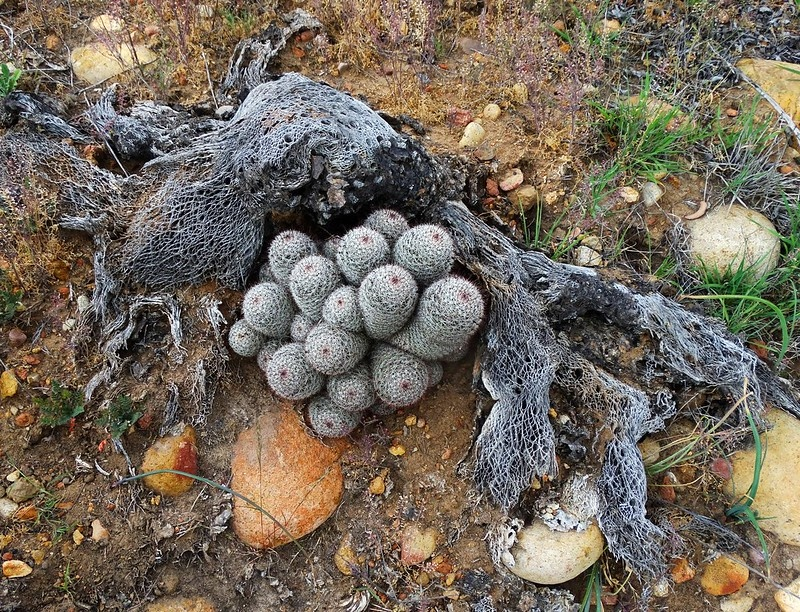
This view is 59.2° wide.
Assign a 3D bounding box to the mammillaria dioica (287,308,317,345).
[{"bbox_3d":[-0.512,0.107,3.764,0.123,0.113,0.155,12,95,8],"label":"mammillaria dioica"}]

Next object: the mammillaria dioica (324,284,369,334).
[{"bbox_3d":[-0.272,0.018,3.502,0.180,0.176,0.217,-4,85,1],"label":"mammillaria dioica"}]

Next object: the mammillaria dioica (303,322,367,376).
[{"bbox_3d":[-0.321,0.222,3.583,0.228,0.298,0.287,-2,86,14],"label":"mammillaria dioica"}]

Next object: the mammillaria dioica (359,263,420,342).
[{"bbox_3d":[-0.081,-0.006,3.557,0.251,0.424,0.261,6,31,-10],"label":"mammillaria dioica"}]

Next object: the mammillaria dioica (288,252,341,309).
[{"bbox_3d":[-0.408,-0.122,3.598,0.225,0.280,0.259,9,47,0],"label":"mammillaria dioica"}]

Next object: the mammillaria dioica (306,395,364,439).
[{"bbox_3d":[-0.381,0.551,3.742,0.321,0.306,0.188,1,45,-11],"label":"mammillaria dioica"}]

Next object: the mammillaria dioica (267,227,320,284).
[{"bbox_3d":[-0.537,-0.272,3.654,0.248,0.283,0.261,1,47,-8],"label":"mammillaria dioica"}]

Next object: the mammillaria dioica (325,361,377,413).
[{"bbox_3d":[-0.241,0.410,3.577,0.193,0.233,0.241,0,87,1],"label":"mammillaria dioica"}]

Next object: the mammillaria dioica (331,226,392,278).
[{"bbox_3d":[-0.204,-0.256,3.539,0.241,0.275,0.245,7,66,-3],"label":"mammillaria dioica"}]

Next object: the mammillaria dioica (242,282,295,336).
[{"bbox_3d":[-0.676,0.019,3.698,0.248,0.284,0.241,-18,72,-6],"label":"mammillaria dioica"}]

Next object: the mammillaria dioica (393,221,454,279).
[{"bbox_3d":[0.120,-0.280,3.579,0.310,0.228,0.248,26,73,8],"label":"mammillaria dioica"}]
